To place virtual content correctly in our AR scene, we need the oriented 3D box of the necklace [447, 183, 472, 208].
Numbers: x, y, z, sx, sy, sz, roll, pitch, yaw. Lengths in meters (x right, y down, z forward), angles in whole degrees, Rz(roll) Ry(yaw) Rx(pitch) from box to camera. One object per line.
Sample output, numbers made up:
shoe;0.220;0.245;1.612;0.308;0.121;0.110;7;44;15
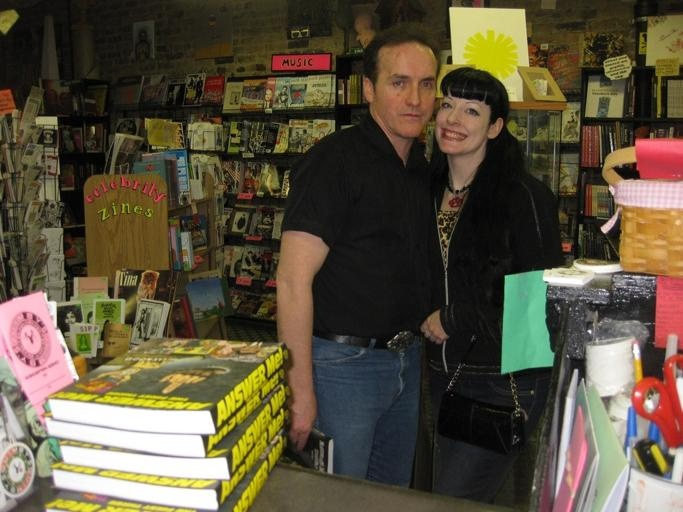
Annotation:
necklace;0.460;-0.239;2.147;0.055;0.098;0.029;2;-15;35
